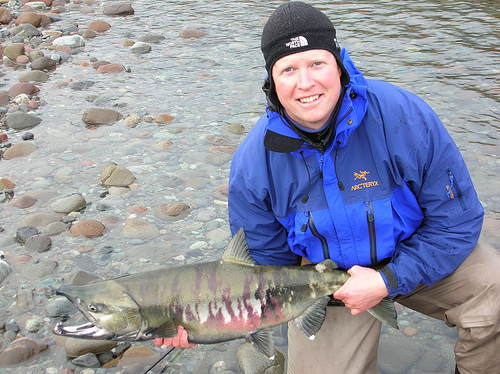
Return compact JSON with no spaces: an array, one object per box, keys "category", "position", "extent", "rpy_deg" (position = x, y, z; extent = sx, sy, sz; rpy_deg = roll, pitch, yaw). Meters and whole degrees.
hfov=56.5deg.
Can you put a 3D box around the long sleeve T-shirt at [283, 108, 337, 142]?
[{"category":"long sleeve T-shirt","position":[0.581,-0.532,4.237],"extent":[0.432,0.301,0.191],"rpy_deg":[-4,0,0]}]

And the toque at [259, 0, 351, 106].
[{"category":"toque","position":[0.486,-1.183,4.209],"extent":[0.799,0.951,0.381],"rpy_deg":[-4,30,2]}]
